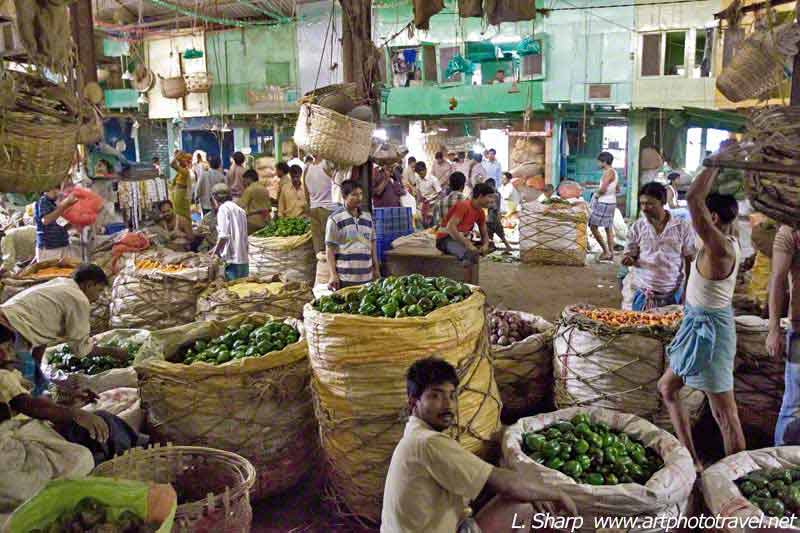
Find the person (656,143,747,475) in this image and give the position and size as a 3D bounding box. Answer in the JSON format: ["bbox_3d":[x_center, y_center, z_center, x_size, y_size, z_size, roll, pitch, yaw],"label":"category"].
[{"bbox_3d":[2.420,0.381,4.872,0.818,2.644,0.664,-9,14,-30],"label":"person"}]

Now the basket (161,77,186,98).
[{"bbox_3d":[-6.365,-4.992,17.390,0.695,0.527,0.700,0,12,12],"label":"basket"}]

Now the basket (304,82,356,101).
[{"bbox_3d":[-0.752,-1.873,6.691,0.422,0.160,0.313,-2,7,-6],"label":"basket"}]

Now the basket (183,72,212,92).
[{"bbox_3d":[-5.898,-5.402,18.249,0.897,0.526,0.667,-1,19,0],"label":"basket"}]

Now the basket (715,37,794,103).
[{"bbox_3d":[3.951,-2.192,6.953,0.413,0.648,0.647,-9,14,-31],"label":"basket"}]

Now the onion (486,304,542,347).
[{"bbox_3d":[1.086,0.592,6.124,0.381,0.192,0.457,1,9,4],"label":"onion"}]

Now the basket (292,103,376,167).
[{"bbox_3d":[-0.728,-1.343,6.470,0.750,0.435,0.603,21,4,26],"label":"basket"}]
